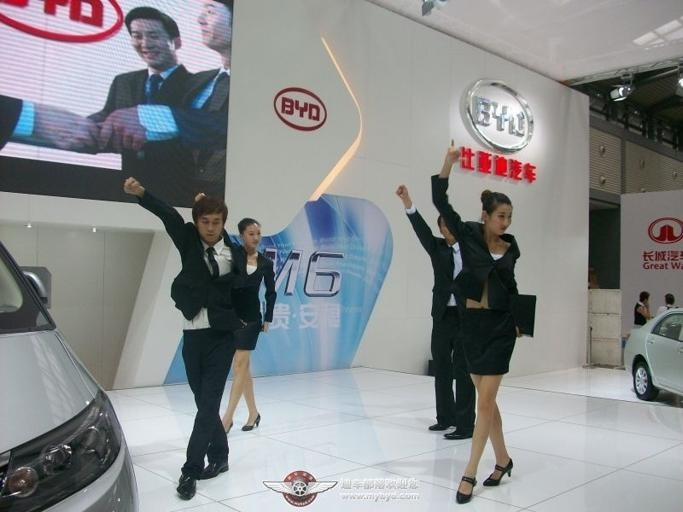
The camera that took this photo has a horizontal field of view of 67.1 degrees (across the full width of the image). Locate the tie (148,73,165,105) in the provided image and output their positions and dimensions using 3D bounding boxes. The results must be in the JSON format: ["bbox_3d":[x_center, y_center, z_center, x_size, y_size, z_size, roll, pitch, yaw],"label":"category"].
[{"bbox_3d":[-2.135,-1.944,5.877,0.102,0.410,0.082,17,-21,-22],"label":"tie"}]

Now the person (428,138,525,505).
[{"bbox_3d":[0.903,0.395,3.375,0.514,2.193,0.442,2,-1,-18],"label":"person"}]

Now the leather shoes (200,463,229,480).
[{"bbox_3d":[-0.824,1.398,3.356,0.065,0.103,0.191,-4,-11,32],"label":"leather shoes"}]

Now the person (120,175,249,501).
[{"bbox_3d":[-0.950,0.518,3.232,0.641,1.830,0.429,2,-1,-25],"label":"person"}]

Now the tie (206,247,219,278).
[{"bbox_3d":[-0.803,0.041,3.197,0.037,0.161,0.106,-14,7,1],"label":"tie"}]

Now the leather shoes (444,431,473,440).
[{"bbox_3d":[0.971,1.502,4.299,0.208,0.075,0.096,6,-12,-12],"label":"leather shoes"}]

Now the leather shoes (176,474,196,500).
[{"bbox_3d":[-0.924,1.369,3.059,0.105,0.082,0.117,2,-2,-14],"label":"leather shoes"}]

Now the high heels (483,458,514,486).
[{"bbox_3d":[1.022,1.442,3.431,0.279,0.180,0.099,4,-12,-31],"label":"high heels"}]

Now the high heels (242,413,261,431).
[{"bbox_3d":[-0.765,1.443,4.414,0.062,0.111,0.191,-9,-15,30],"label":"high heels"}]

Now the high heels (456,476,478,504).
[{"bbox_3d":[0.749,1.412,3.105,0.065,0.083,0.207,-8,-2,22],"label":"high heels"}]
